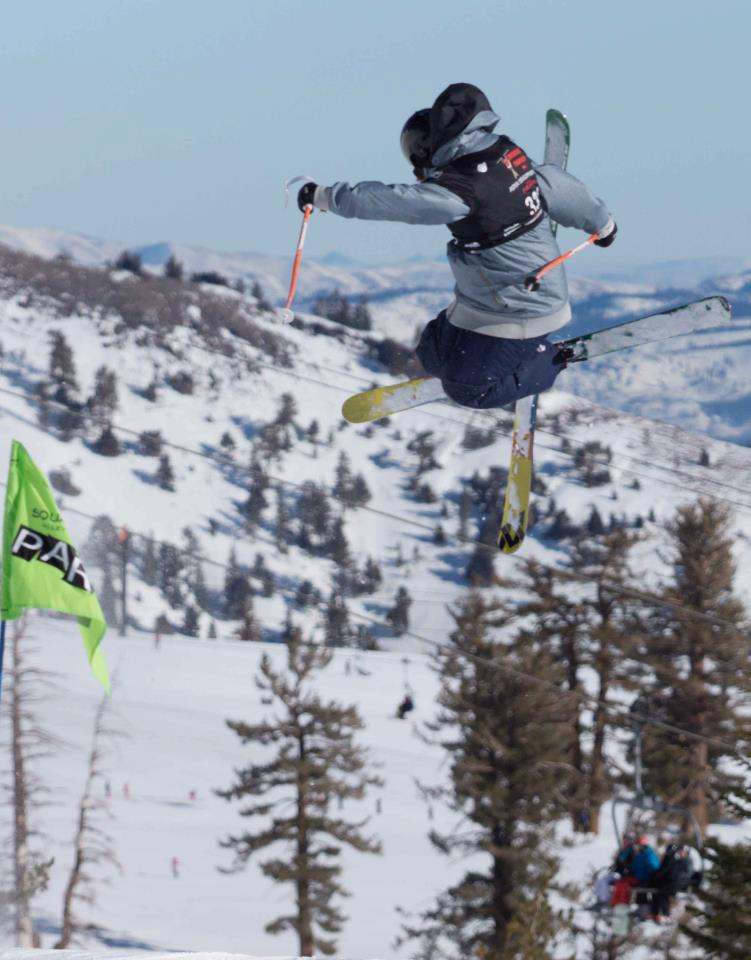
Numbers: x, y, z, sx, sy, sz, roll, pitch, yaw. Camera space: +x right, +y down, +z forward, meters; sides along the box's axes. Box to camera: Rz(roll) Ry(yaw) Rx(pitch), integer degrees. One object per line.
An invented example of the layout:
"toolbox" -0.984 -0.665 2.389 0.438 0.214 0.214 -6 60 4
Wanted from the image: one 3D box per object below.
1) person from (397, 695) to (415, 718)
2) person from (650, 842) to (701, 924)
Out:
"person" 0.741 5.875 47.118 0.187 0.166 0.802 8 21 6
"person" 4.774 6.589 29.765 0.674 1.362 0.817 7 -3 -37
